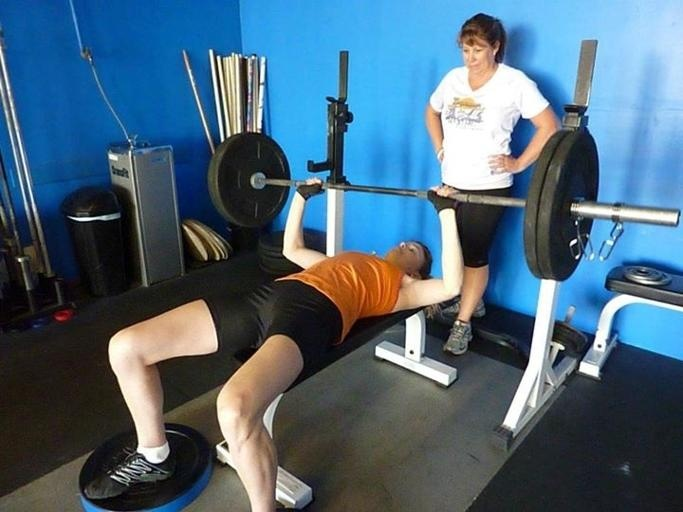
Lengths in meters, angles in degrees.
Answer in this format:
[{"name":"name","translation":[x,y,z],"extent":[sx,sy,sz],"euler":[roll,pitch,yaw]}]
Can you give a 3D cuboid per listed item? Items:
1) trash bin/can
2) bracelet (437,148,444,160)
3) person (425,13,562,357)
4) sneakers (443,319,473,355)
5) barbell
[{"name":"trash bin/can","translation":[-1.488,-0.113,3.503],"extent":[0.395,0.711,0.456],"euler":[14,24,32]},{"name":"bracelet","translation":[0.564,-0.588,3.106],"extent":[0.017,0.043,0.051],"euler":[7,45,-9]},{"name":"person","translation":[0.774,-0.598,2.956],"extent":[0.744,2.090,0.504],"euler":[4,20,13]},{"name":"sneakers","translation":[0.642,0.430,2.969],"extent":[0.094,0.110,0.224],"euler":[6,26,30]},{"name":"barbell","translation":[0.584,-0.266,2.819],"extent":[1.495,0.527,0.526],"euler":[13,22,27]}]
